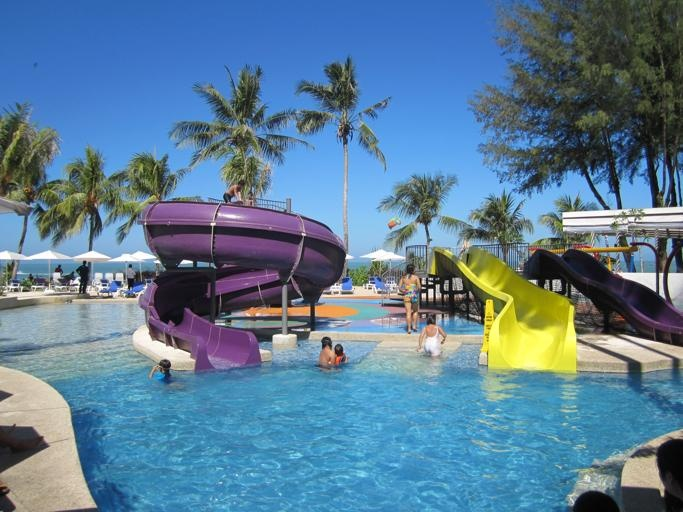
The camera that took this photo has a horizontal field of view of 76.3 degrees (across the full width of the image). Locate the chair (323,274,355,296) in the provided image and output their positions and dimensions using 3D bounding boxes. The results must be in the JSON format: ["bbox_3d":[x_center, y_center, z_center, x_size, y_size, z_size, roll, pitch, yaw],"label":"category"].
[{"bbox_3d":[-0.095,1.454,21.364,1.425,0.919,2.234,-2,1,2],"label":"chair"}]

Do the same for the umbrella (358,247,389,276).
[{"bbox_3d":[2.932,0.364,33.365,1.982,1.618,2.031,1,2,41],"label":"umbrella"}]

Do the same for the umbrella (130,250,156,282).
[{"bbox_3d":[-14.176,0.742,31.144,1.687,1.379,1.801,2,1,-32],"label":"umbrella"}]

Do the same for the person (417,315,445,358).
[{"bbox_3d":[2.150,1.789,10.342,0.611,0.935,0.984,0,4,12],"label":"person"}]

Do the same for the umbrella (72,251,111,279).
[{"bbox_3d":[-23.781,0.971,41.439,3.228,2.614,3.473,4,5,18],"label":"umbrella"}]

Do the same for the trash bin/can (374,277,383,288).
[{"bbox_3d":[2.163,1.491,24.552,0.433,0.385,1.414,0,4,2],"label":"trash bin/can"}]

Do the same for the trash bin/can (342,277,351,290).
[{"bbox_3d":[0.346,1.525,25.758,0.441,0.261,1.114,-2,7,-1],"label":"trash bin/can"}]
